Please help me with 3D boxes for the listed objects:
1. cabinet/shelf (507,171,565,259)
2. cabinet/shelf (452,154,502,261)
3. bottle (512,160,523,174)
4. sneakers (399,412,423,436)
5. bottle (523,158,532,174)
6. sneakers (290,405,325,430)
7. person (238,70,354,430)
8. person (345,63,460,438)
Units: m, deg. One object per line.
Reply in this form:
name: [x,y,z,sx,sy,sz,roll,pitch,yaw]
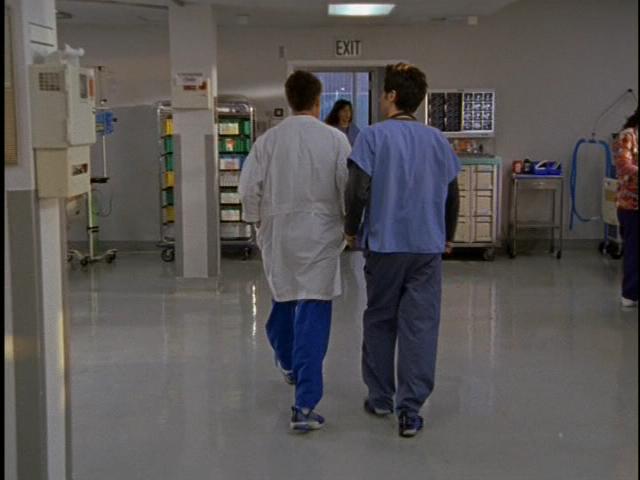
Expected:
cabinet/shelf: [2.820,-0.368,8.122,0.617,1.096,0.761,3,9,20]
cabinet/shelf: [1.851,-0.429,8.012,0.872,1.232,0.899,-2,7,-14]
bottle: [2.594,-0.943,8.150,0.149,0.229,0.218,3,1,14]
sneakers: [0.497,1.026,3.437,0.076,0.082,0.170,1,11,12]
bottle: [2.728,-0.964,8.109,0.140,0.173,0.295,2,11,16]
sneakers: [-0.075,1.007,3.553,0.228,0.125,0.087,1,-1,-43]
person: [-0.099,0.012,3.705,0.556,2.006,0.642,-7,11,-36]
person: [0.454,0.042,3.494,0.621,2.037,0.436,2,9,13]
